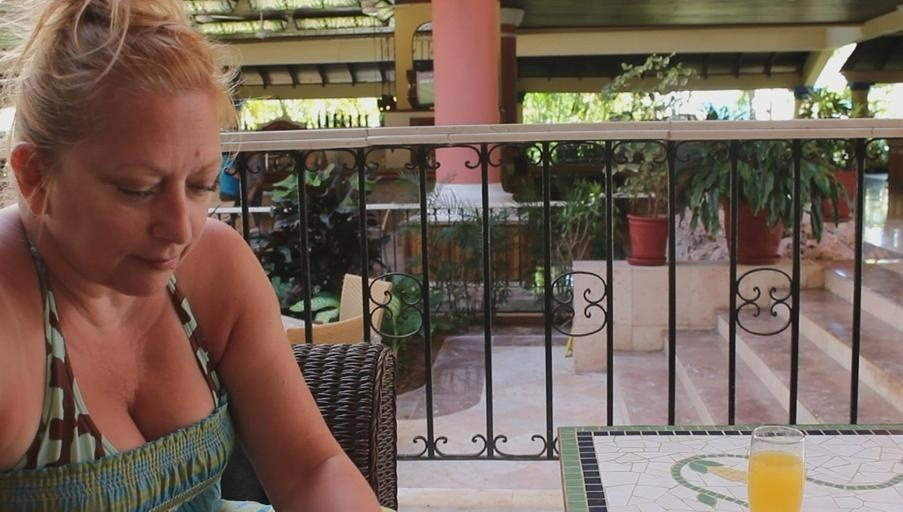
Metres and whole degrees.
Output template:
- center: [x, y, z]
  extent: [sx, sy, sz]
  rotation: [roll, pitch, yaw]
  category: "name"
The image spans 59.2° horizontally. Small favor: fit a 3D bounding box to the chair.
- center: [-0.343, 0.558, 2.564]
  extent: [0.554, 0.594, 0.508]
  rotation: [-1, -7, 3]
  category: "chair"
